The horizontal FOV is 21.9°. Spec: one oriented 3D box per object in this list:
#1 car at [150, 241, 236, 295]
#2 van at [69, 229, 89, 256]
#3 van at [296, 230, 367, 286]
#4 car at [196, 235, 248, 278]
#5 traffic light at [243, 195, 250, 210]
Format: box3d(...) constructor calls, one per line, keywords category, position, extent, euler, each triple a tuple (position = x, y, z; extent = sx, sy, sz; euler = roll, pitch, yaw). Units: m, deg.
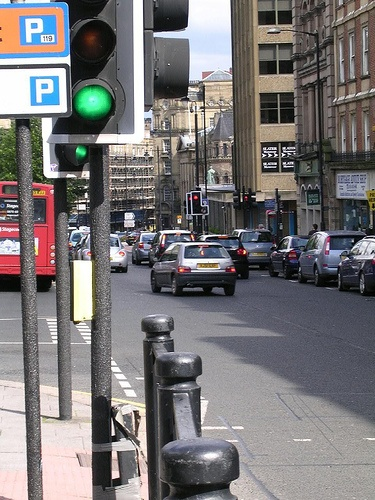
box3d(category="car", position=(0.066, 0.450, 26.347), extent=(1.198, 0.966, 2.081), euler=(-1, 4, -9))
box3d(category="van", position=(-5.850, -0.324, 51.312), extent=(1.363, 1.391, 2.628), euler=(-1, 3, -4))
box3d(category="van", position=(4.393, 0.177, 30.078), extent=(1.057, 1.126, 2.424), euler=(-1, 2, -8))
box3d(category="car", position=(1.068, 0.213, 29.037), extent=(1.335, 1.359, 2.937), euler=(0, 2, -2))
box3d(category="traffic light", position=(3.627, -2.984, 58.901), extent=(0.402, 0.870, 0.787), euler=(-1, 3, 3))
